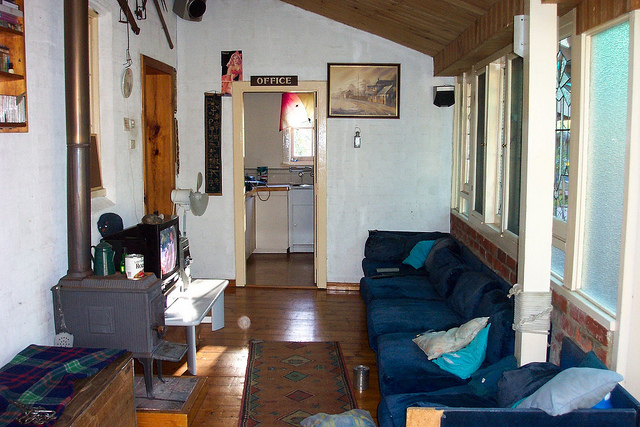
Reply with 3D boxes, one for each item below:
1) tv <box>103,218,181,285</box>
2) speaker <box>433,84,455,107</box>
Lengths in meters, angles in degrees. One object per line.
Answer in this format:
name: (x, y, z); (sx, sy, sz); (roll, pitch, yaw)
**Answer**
tv: (-1.688, 0.346, 4.491); (0.618, 0.540, 0.765); (1, 3, -4)
speaker: (1.735, -1.663, 6.730); (0.299, 0.315, 0.228); (3, 12, 8)
